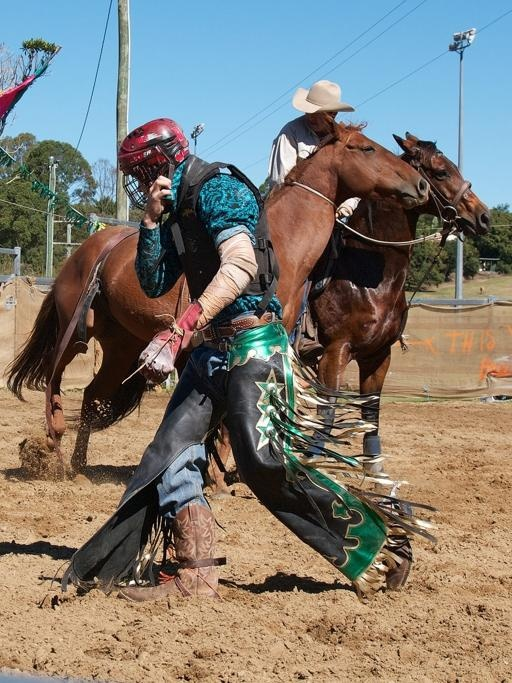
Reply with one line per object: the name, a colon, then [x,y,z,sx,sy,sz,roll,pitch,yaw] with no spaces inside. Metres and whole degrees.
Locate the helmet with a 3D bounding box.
helmet: [-0.363,-0.667,2.315,0.260,0.212,0.200,-15,19,-6]

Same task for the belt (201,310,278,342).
belt: [-0.055,-0.077,2.161,0.141,0.034,0.155,-15,2,45]

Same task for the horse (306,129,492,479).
horse: [0.690,-0.099,4.725,0.799,1.881,2.679,5,-11,-22]

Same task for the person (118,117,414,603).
person: [-0.044,0.098,2.270,0.836,1.732,0.777,3,-4,-28]

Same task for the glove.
glove: [-0.200,-0.012,1.827,0.111,0.279,0.122,22,-24,13]
